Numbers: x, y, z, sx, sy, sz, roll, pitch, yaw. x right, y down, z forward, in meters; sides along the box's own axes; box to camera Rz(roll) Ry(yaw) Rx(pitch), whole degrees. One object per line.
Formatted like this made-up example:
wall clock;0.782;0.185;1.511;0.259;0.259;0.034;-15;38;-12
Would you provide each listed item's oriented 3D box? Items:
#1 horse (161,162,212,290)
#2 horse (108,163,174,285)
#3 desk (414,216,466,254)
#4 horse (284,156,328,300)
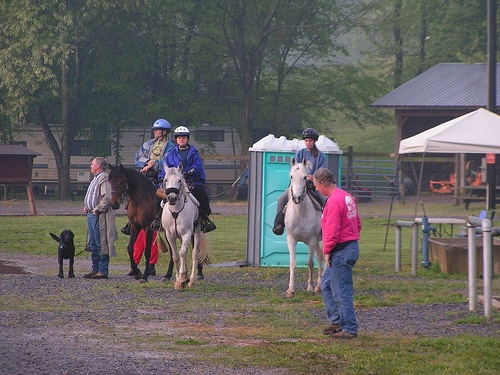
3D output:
horse;-2.864;1.998;55.473;1.638;5.010;7.119;-4;-10;7
horse;-4.584;1.668;55.893;1.609;5.206;6.115;-5;-4;21
desk;9.226;1.882;60.280;2.295;0.937;9.704;-1;-1;10
horse;2.398;2.213;55.092;1.893;5.556;7.399;-1;-9;9
